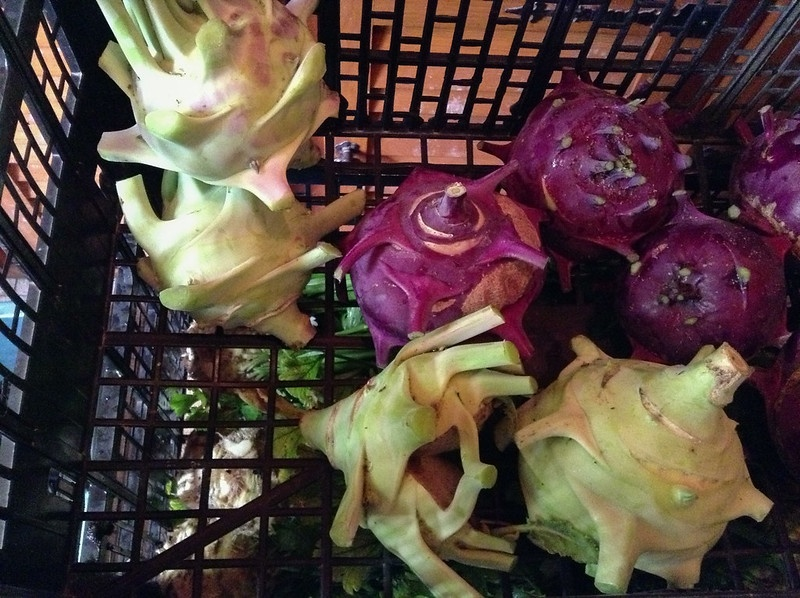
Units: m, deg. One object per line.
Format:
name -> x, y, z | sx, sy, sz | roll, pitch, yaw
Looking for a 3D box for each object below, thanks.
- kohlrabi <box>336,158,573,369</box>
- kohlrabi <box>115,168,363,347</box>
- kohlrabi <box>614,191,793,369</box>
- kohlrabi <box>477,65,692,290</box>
kohlrabi -> 0.068, -0.041, 1.013 | 0.299, 0.183, 0.296 | -35, 93, -3
kohlrabi -> -0.238, -0.068, 0.971 | 0.243, 0.131, 0.310 | 27, 35, 26
kohlrabi -> 0.467, -0.008, 1.041 | 0.209, 0.167, 0.263 | 31, 99, 11
kohlrabi -> 0.264, -0.214, 1.066 | 0.280, 0.286, 0.286 | 0, 26, 2
